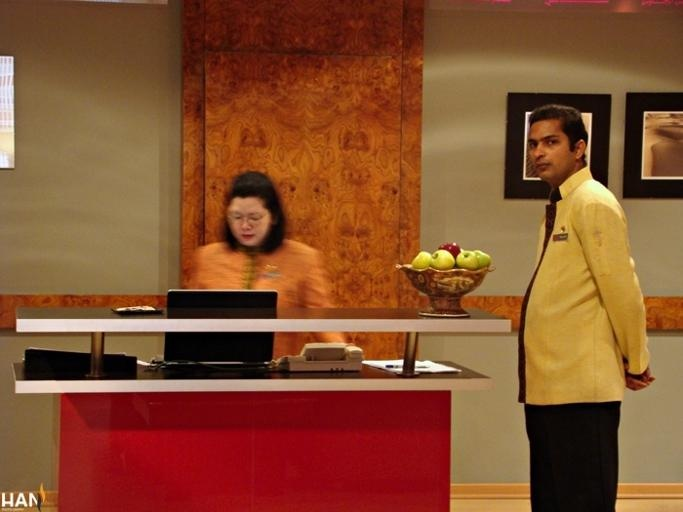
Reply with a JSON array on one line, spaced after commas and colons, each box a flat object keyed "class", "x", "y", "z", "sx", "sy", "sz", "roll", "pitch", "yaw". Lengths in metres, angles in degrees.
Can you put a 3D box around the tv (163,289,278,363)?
[{"class": "tv", "x": -0.594, "y": 0.270, "z": 3.594, "sx": 0.467, "sy": 0.340, "sz": 0.353, "roll": 1, "pitch": -1, "yaw": -7}]
